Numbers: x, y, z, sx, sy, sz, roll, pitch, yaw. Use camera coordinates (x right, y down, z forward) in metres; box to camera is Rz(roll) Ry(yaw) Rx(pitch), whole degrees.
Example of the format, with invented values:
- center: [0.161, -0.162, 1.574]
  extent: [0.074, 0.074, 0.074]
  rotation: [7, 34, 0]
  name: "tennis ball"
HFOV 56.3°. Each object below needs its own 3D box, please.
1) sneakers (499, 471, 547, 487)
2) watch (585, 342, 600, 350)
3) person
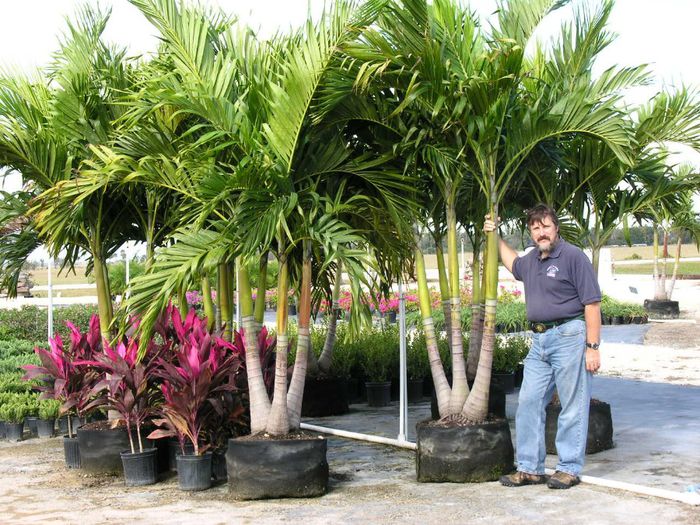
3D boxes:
- center: [1.499, 1.882, 5.669]
  extent: [0.377, 0.174, 0.153]
  rotation: [3, -2, -5]
  name: "sneakers"
- center: [2.048, 0.703, 5.482]
  extent: [0.079, 0.056, 0.081]
  rotation: [0, -18, -10]
  name: "watch"
- center: [1.761, 0.708, 5.724]
  extent: [0.869, 2.442, 0.378]
  rotation: [-5, -4, 23]
  name: "person"
